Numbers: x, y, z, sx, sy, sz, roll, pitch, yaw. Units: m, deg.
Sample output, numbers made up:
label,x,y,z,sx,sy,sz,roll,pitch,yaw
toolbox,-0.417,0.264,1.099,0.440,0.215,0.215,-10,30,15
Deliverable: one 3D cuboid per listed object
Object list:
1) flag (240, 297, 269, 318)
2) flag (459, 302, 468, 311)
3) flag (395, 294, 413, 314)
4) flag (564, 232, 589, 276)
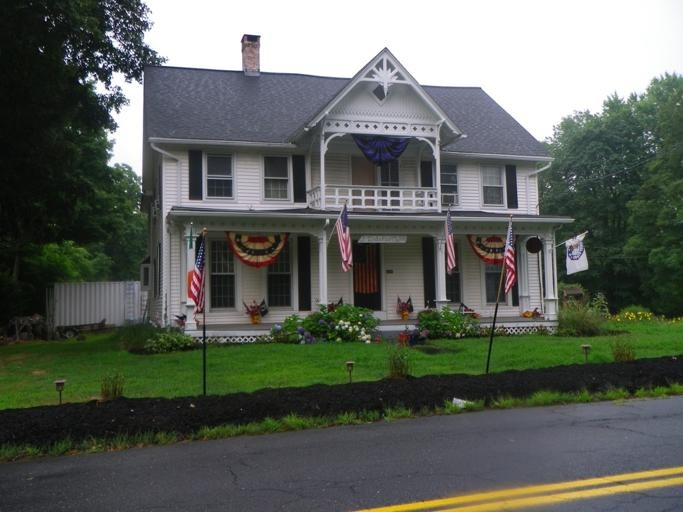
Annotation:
label,x,y,z,sx,sy,sz,roll,pitch,yaw
flag,-2.973,1.788,25.758,0.926,0.629,0.570,-1,4,-9
flag,4.548,1.848,27.713,0.244,0.282,0.091,-22,2,-42
flag,2.283,1.748,27.466,0.595,0.714,0.035,3,-8,-18
flag,8.814,-0.238,27.830,0.902,1.727,0.127,-7,-30,17
